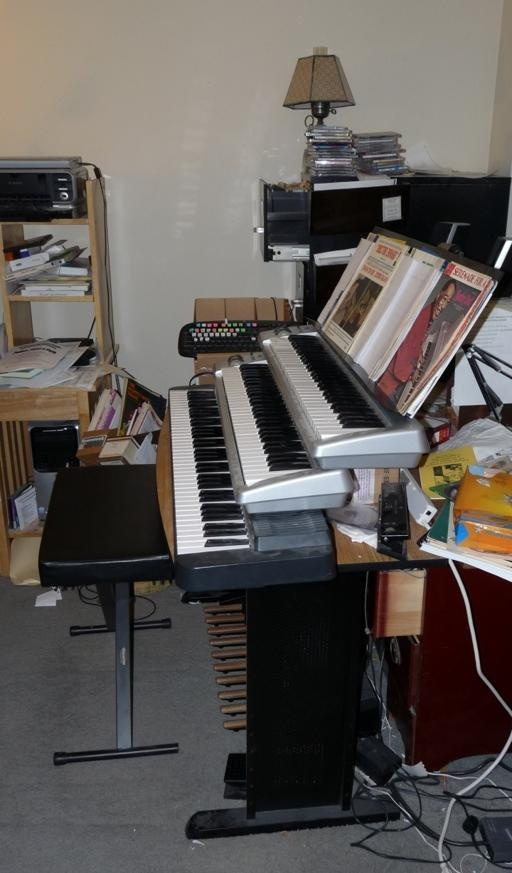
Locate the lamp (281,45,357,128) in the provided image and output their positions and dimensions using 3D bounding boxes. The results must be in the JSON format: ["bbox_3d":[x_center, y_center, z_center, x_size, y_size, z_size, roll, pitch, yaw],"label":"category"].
[{"bbox_3d":[0.256,-1.455,2.653,0.247,0.364,0.270,-3,10,-2],"label":"lamp"}]

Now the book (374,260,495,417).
[{"bbox_3d":[0.285,-0.146,1.040,0.051,0.238,0.234,19,32,-6],"label":"book"}]

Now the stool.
[{"bbox_3d":[-0.405,0.515,1.725,0.240,0.431,0.662,1,17,-7],"label":"stool"}]

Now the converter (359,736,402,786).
[{"bbox_3d":[0.294,0.795,1.550,0.067,0.032,0.099,-19,23,-16],"label":"converter"}]

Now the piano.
[{"bbox_3d":[0.098,0.057,1.208,0.321,0.219,0.652,-2,26,-2],"label":"piano"}]
